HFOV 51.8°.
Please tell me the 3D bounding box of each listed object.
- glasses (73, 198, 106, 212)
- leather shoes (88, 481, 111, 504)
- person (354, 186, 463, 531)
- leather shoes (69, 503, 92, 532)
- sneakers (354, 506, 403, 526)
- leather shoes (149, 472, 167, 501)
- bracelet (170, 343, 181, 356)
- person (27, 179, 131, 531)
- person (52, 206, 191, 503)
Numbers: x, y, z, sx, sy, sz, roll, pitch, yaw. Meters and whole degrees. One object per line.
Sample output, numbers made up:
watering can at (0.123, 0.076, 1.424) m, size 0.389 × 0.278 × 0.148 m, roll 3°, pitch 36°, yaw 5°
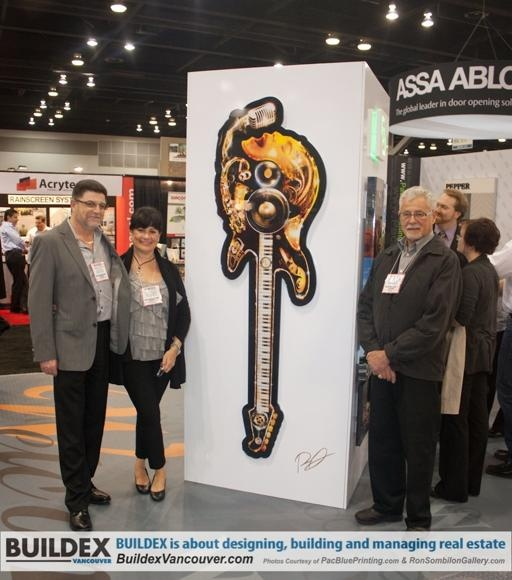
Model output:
glasses at (-0.746, -0.389, 2.416) m, size 0.163 × 0.050 × 0.134 m, roll -1°, pitch 3°, yaw -36°
leather shoes at (-0.825, 1.006, 2.649) m, size 0.178 × 0.075 × 0.064 m, roll 1°, pitch -1°, yaw 23°
person at (0.651, 0.309, 2.365) m, size 0.443 × 1.548 × 0.343 m, roll 2°, pitch 2°, yaw 30°
leather shoes at (-0.776, 1.006, 2.336) m, size 0.055 × 0.057 × 0.146 m, roll 3°, pitch -4°, yaw -29°
sneakers at (0.567, 1.048, 2.453) m, size 0.202 × 0.077 × 0.082 m, roll 3°, pitch -1°, yaw -7°
leather shoes at (-0.514, 0.999, 2.715) m, size 0.056 × 0.156 × 0.043 m, roll -5°, pitch -13°, yaw 7°
bracelet at (-0.405, 0.290, 2.655) m, size 0.049 × 0.057 × 0.030 m, roll 15°, pitch 15°, yaw 23°
person at (-0.819, 0.279, 2.427) m, size 0.462 × 1.569 × 0.348 m, roll -1°, pitch 3°, yaw -41°
person at (-0.559, 0.335, 2.671) m, size 0.464 × 1.432 × 0.418 m, roll -4°, pitch 11°, yaw -33°
